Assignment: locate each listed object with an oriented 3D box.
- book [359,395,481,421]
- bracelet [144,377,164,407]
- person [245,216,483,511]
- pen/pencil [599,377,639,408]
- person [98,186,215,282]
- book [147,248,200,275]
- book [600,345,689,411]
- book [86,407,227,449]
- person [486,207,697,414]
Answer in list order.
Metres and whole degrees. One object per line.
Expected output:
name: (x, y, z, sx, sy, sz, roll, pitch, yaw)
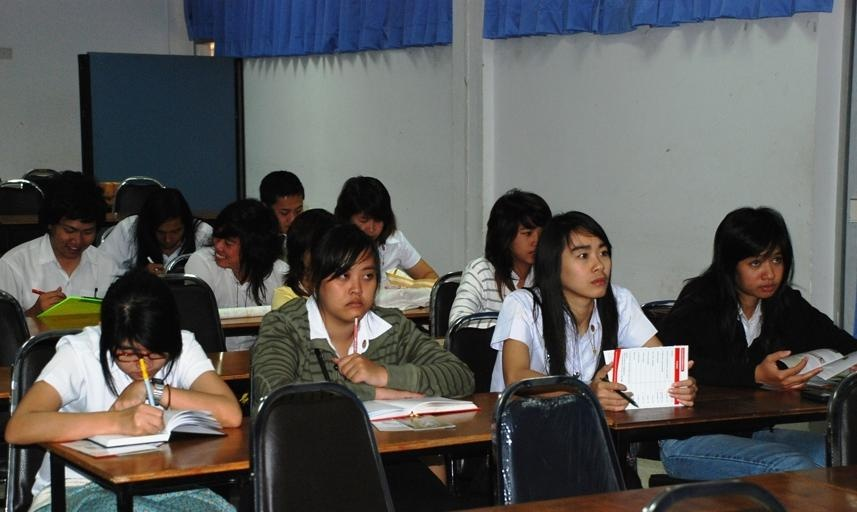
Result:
book: (-0.032, 0.563, 2.745, 0.431, 0.050, 0.204, -4, 6, -18)
bracelet: (-0.971, 0.480, 2.561, 0.065, 0.095, 0.096, 5, -13, -6)
person: (-0.530, 0.452, 3.244, 1.019, 1.228, 1.043, 2, -8, -25)
pen/pencil: (0.719, 0.516, 2.748, 0.022, 0.160, 0.023, -48, 4, 43)
person: (-1.841, -0.144, 4.819, 0.690, 0.459, 0.827, 7, -41, -28)
book: (-1.595, 0.036, 4.498, 0.174, 0.235, 0.146, 8, 1, 6)
book: (0.827, 0.474, 2.768, 0.250, 0.171, 0.012, -1, 4, -8)
book: (-0.917, 0.579, 2.458, 0.427, 0.097, 0.156, -5, 6, -26)
person: (0.592, 0.198, 3.095, 0.693, 0.707, 0.848, -1, -1, -26)
